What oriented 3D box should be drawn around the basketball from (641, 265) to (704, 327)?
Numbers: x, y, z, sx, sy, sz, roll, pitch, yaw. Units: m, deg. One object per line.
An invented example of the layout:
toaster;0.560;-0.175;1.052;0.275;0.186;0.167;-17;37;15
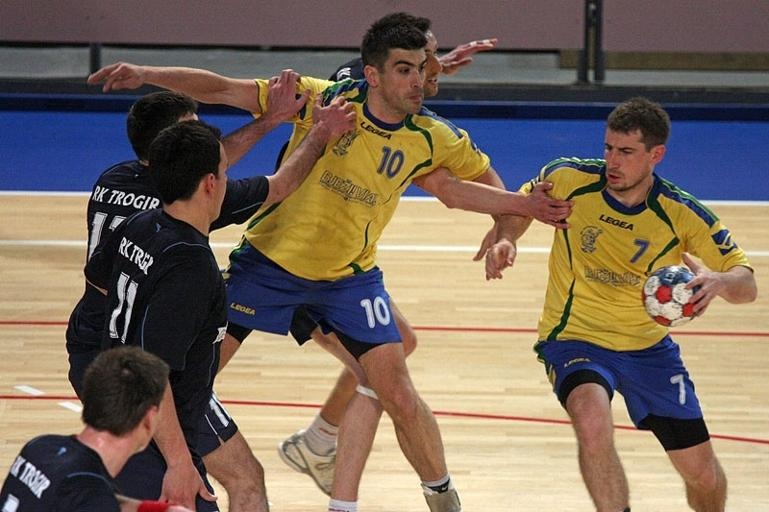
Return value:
basketball;1.665;0.226;5.628;0.313;0.345;0.169;4;5;13
